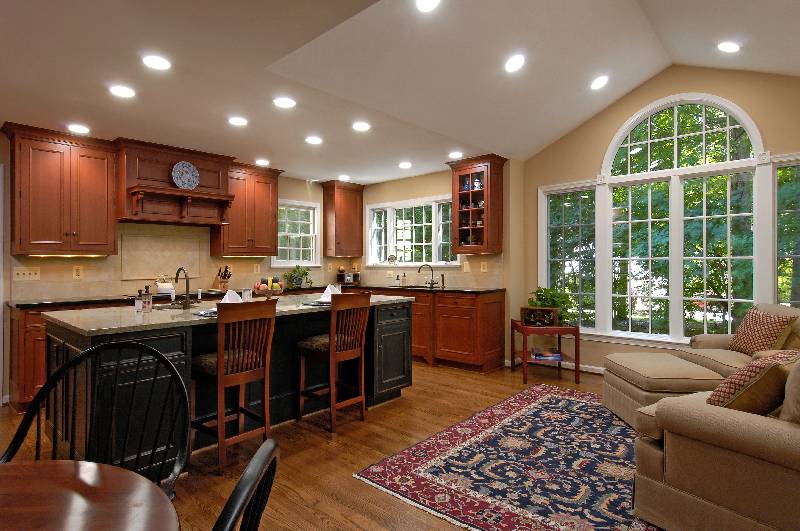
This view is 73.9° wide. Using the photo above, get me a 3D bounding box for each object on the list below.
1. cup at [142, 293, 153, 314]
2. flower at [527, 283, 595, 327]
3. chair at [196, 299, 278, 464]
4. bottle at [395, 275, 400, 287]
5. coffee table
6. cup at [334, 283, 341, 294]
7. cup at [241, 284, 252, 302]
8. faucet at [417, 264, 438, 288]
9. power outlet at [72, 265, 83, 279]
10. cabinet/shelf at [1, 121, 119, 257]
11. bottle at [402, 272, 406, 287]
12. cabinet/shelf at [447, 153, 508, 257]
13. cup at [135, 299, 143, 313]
[{"bbox_3d":[-2.098,0.304,4.384,0.067,0.138,0.178,-4,12,-21],"label":"cup"},{"bbox_3d":[2.013,0.472,6.477,0.630,0.433,0.578,0,0,4],"label":"flower"},{"bbox_3d":[-1.351,0.916,4.319,0.702,1.349,0.586,-7,13,-31],"label":"chair"},{"bbox_3d":[-0.033,0.207,7.796,0.038,0.144,0.104,-6,13,-26],"label":"bottle"},{"bbox_3d":[1.764,1.015,6.376,0.871,0.715,0.967,2,11,10],"label":"coffee table"},{"bbox_3d":[-0.648,0.238,5.460,0.069,0.122,0.092,-2,2,6],"label":"cup"},{"bbox_3d":[-1.613,0.286,5.529,0.109,0.150,0.106,2,6,0],"label":"cup"},{"bbox_3d":[0.411,0.142,7.465,0.302,0.414,0.269,2,-2,7],"label":"faucet"},{"bbox_3d":[-3.591,0.075,5.899,0.023,0.143,0.108,11,16,42],"label":"power outlet"},{"bbox_3d":[-3.588,-0.815,5.494,1.320,1.629,0.478,2,-3,-41],"label":"cabinet/shelf"},{"bbox_3d":[0.062,0.192,7.719,0.072,0.178,0.114,-2,12,-11],"label":"bottle"},{"bbox_3d":[0.979,-0.780,6.754,0.699,1.242,0.468,2,12,8],"label":"cabinet/shelf"},{"bbox_3d":[-2.135,0.335,4.378,0.094,0.095,0.091,2,2,0],"label":"cup"}]
